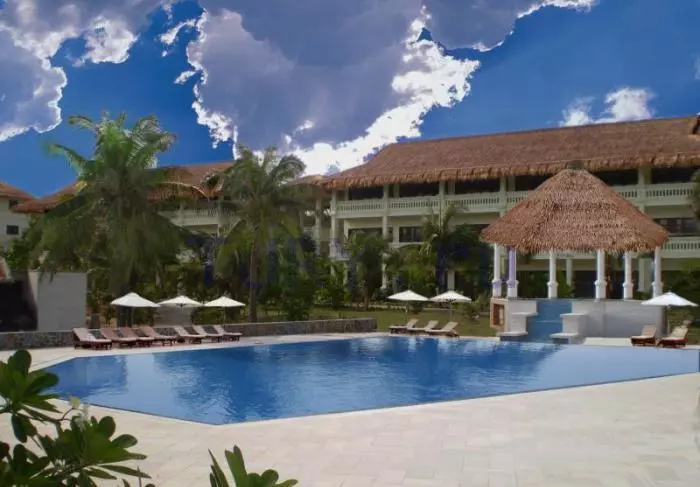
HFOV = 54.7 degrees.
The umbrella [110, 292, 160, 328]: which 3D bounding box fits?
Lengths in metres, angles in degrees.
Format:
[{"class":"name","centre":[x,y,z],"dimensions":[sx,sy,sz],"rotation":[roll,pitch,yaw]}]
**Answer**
[{"class":"umbrella","centre":[-8.639,2.615,27.236],"dimensions":[1.411,1.152,1.476],"rotation":[-1,-8,1]}]

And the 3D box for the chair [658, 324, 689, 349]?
[{"class":"chair","centre":[11.628,3.327,24.276],"dimensions":[0.801,0.983,1.511],"rotation":[-6,-10,42]}]

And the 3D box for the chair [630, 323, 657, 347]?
[{"class":"chair","centre":[10.618,3.349,24.372],"dimensions":[0.615,0.733,0.972],"rotation":[-5,-7,44]}]

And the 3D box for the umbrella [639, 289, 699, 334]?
[{"class":"umbrella","centre":[11.404,2.125,24.636],"dimensions":[2.030,1.600,2.140],"rotation":[-4,-4,36]}]

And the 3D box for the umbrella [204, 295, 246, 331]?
[{"class":"umbrella","centre":[-5.419,3.151,28.954],"dimensions":[1.623,1.226,1.692],"rotation":[-4,-3,40]}]

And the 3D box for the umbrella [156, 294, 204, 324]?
[{"class":"umbrella","centre":[-7.903,3.066,30.643],"dimensions":[1.819,1.437,1.920],"rotation":[-1,-4,5]}]

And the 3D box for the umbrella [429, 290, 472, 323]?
[{"class":"umbrella","centre":[5.408,3.458,36.618],"dimensions":[1.547,1.154,1.466],"rotation":[2,-5,-28]}]
